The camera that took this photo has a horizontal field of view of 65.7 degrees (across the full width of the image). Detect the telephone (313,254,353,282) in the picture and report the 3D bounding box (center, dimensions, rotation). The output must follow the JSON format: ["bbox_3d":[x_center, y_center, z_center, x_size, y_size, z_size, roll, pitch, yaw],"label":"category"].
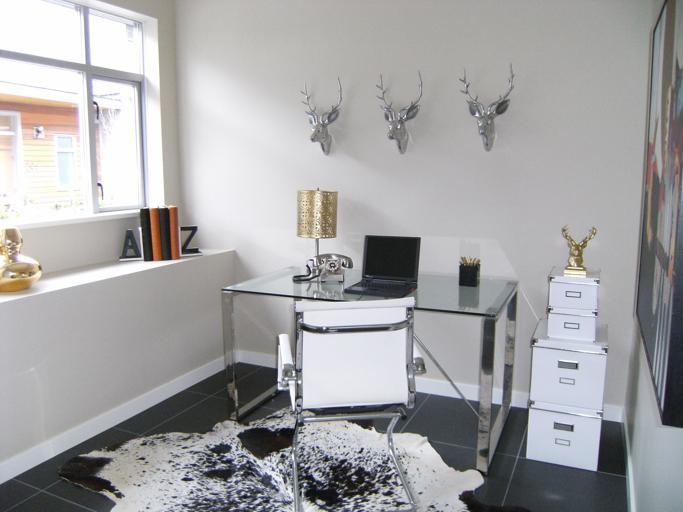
[{"bbox_3d":[-0.064,0.076,3.762,0.290,0.235,0.173,1,8,5],"label":"telephone"}]

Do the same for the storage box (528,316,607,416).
[{"bbox_3d":[1.407,0.678,3.323,0.404,0.447,0.451,3,3,22],"label":"storage box"}]

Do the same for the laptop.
[{"bbox_3d":[0.305,0.072,3.678,0.412,0.350,0.457,3,8,22],"label":"laptop"}]

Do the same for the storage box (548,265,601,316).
[{"bbox_3d":[1.429,0.190,3.307,0.267,0.219,0.280,2,8,14],"label":"storage box"}]

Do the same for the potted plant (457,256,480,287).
[{"bbox_3d":[0.885,0.113,3.663,0.151,0.227,0.117,8,16,32],"label":"potted plant"}]

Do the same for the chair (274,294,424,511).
[{"bbox_3d":[0.051,0.861,2.989,0.810,1.255,0.762,-1,28,-3],"label":"chair"}]

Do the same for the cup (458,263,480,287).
[{"bbox_3d":[0.877,0.134,3.626,0.137,0.146,0.138,-1,11,0],"label":"cup"}]

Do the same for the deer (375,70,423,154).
[{"bbox_3d":[0.424,-1.063,3.942,0.356,0.591,0.166,2,7,10],"label":"deer"}]

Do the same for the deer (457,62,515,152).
[{"bbox_3d":[1.038,-1.071,3.743,0.492,0.743,0.238,5,25,30],"label":"deer"}]
